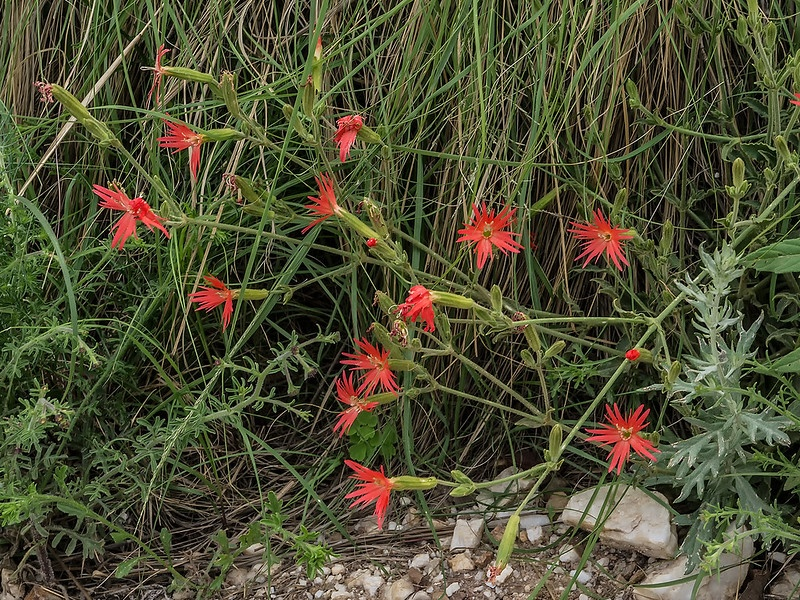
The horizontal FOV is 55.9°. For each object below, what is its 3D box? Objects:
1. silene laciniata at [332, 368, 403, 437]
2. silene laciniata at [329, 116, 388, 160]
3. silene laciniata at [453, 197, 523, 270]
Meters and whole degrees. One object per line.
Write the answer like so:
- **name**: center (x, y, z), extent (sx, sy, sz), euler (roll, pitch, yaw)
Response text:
- **silene laciniata**: center (-0.094, 0.274, 1.873), extent (0.179, 0.086, 0.179), euler (-15, 46, -2)
- **silene laciniata**: center (-0.096, -0.380, 1.781), extent (0.128, 0.096, 0.102), euler (-16, 22, 2)
- **silene laciniata**: center (0.213, -0.169, 1.810), extent (0.147, 0.081, 0.203), euler (17, 84, 3)
